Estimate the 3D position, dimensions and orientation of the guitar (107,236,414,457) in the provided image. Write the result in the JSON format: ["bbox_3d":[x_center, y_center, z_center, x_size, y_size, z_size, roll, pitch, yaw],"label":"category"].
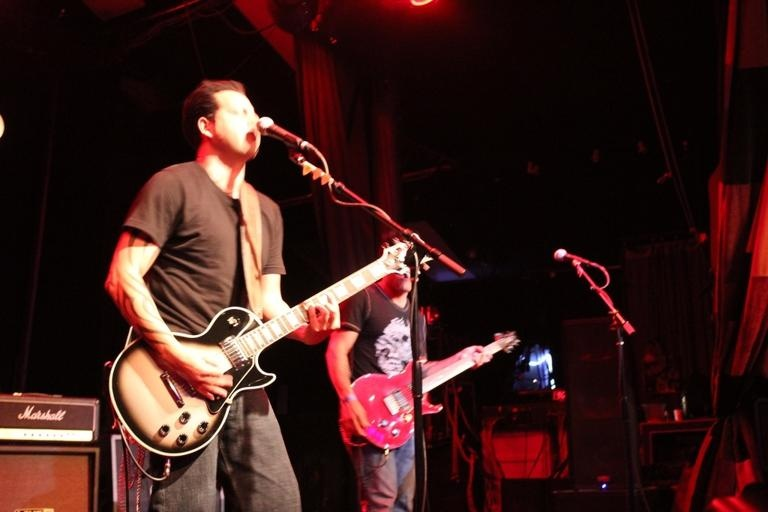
[{"bbox_3d":[-0.846,0.600,3.903,1.509,1.156,0.272,4,-21,-20],"label":"guitar"}]

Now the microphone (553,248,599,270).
[{"bbox_3d":[2.399,0.007,8.011,0.472,0.137,0.161,22,20,24],"label":"microphone"}]

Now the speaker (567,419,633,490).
[{"bbox_3d":[2.021,1.861,6.094,0.508,0.611,0.159,-9,-20,15],"label":"speaker"}]

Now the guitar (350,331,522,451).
[{"bbox_3d":[0.323,1.016,5.160,1.373,0.527,0.139,-30,2,-27],"label":"guitar"}]

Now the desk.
[{"bbox_3d":[2.713,1.718,5.969,0.560,0.386,0.508,0,-21,-8],"label":"desk"}]
